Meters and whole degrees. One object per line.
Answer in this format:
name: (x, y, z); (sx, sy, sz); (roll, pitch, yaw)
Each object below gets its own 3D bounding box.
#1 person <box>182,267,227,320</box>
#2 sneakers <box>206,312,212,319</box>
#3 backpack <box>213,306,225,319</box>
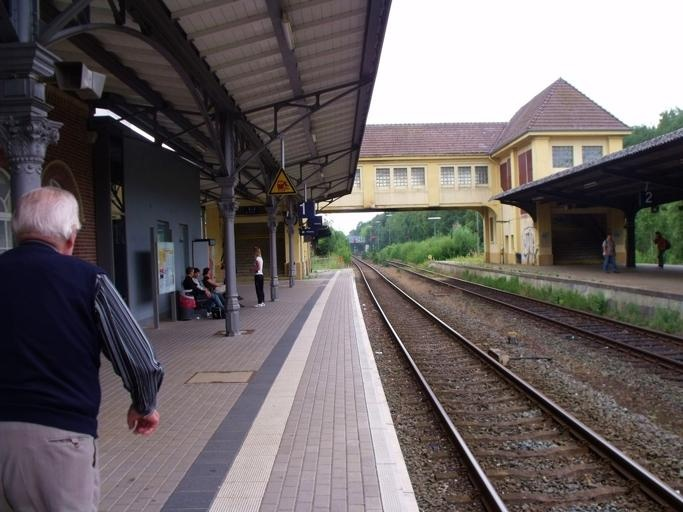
person: (-3.935, 1.054, 14.824); (1.047, 1.487, 1.071); (-4, 0, -19)
sneakers: (-3.773, 1.702, 14.881); (0.144, 0.180, 0.181); (-1, -16, 0)
backpack: (-3.467, 1.600, 14.657); (0.455, 0.360, 0.206); (-4, 0, 34)
